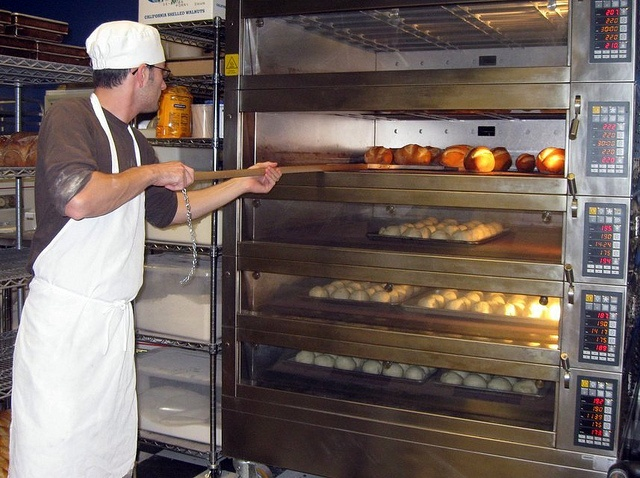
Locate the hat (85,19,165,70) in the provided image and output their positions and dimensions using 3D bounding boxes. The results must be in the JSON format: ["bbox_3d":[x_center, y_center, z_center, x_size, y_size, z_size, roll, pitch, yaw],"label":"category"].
[{"bbox_3d":[-0.599,-0.602,1.613,0.197,0.101,0.193,21,34,30],"label":"hat"}]

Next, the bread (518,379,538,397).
[{"bbox_3d":[0.793,0.572,1.938,0.054,0.012,0.050,-16,25,-2],"label":"bread"}]

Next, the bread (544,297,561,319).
[{"bbox_3d":[0.856,0.254,1.871,0.045,0.078,0.089,3,10,22],"label":"bread"}]

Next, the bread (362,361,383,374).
[{"bbox_3d":[0.225,0.538,2.115,0.082,0.039,0.097,0,12,-1],"label":"bread"}]

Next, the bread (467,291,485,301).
[{"bbox_3d":[0.638,0.234,2.063,0.074,0.022,0.069,1,2,3],"label":"bread"}]

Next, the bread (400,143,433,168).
[{"bbox_3d":[0.404,-0.355,2.142,0.116,0.053,0.105,8,28,19],"label":"bread"}]

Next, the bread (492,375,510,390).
[{"bbox_3d":[0.708,0.566,1.985,0.045,0.021,0.042,-1,10,16],"label":"bread"}]

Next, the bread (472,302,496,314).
[{"bbox_3d":[0.634,0.268,1.966,0.055,0.046,0.050,-1,-15,-2],"label":"bread"}]

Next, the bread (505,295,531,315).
[{"bbox_3d":[0.776,0.273,1.996,0.086,0.037,0.080,-14,17,-4],"label":"bread"}]

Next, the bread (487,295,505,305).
[{"bbox_3d":[0.715,0.246,2.043,0.040,0.025,0.048,-13,-10,25],"label":"bread"}]

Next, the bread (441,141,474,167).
[{"bbox_3d":[0.569,-0.347,2.068,0.149,0.124,0.045,6,11,14],"label":"bread"}]
